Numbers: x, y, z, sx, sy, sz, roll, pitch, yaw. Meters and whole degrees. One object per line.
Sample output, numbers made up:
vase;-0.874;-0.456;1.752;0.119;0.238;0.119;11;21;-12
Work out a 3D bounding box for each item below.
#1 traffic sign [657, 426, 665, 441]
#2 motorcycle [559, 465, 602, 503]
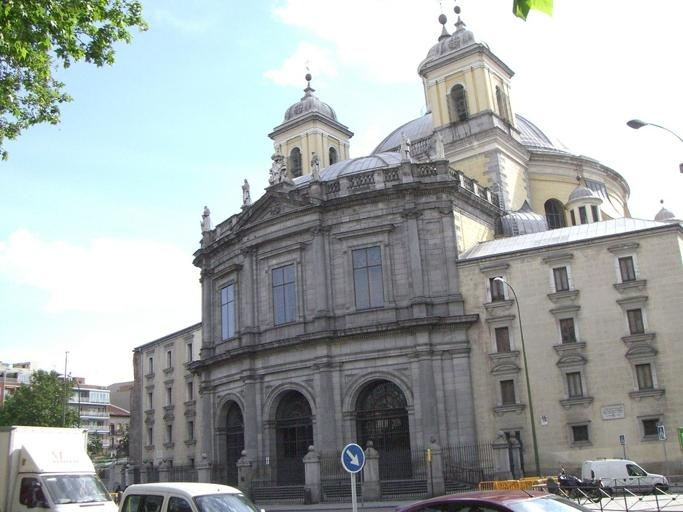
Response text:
traffic sign;17.400;9.601;42.988;0.061;0.927;0.759;19;-26;-2
motorcycle;11.779;11.344;39.488;2.449;1.159;1.625;-6;-6;36
